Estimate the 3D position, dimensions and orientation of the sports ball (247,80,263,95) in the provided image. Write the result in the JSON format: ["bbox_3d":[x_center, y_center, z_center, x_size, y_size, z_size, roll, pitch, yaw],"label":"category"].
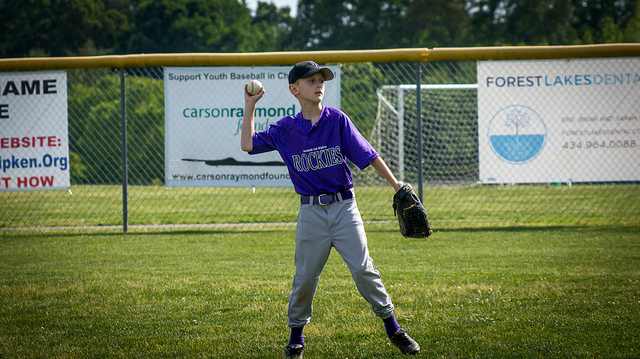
[{"bbox_3d":[-2.045,-2.986,34.687,0.428,0.423,0.429,-20,23,9],"label":"sports ball"}]
